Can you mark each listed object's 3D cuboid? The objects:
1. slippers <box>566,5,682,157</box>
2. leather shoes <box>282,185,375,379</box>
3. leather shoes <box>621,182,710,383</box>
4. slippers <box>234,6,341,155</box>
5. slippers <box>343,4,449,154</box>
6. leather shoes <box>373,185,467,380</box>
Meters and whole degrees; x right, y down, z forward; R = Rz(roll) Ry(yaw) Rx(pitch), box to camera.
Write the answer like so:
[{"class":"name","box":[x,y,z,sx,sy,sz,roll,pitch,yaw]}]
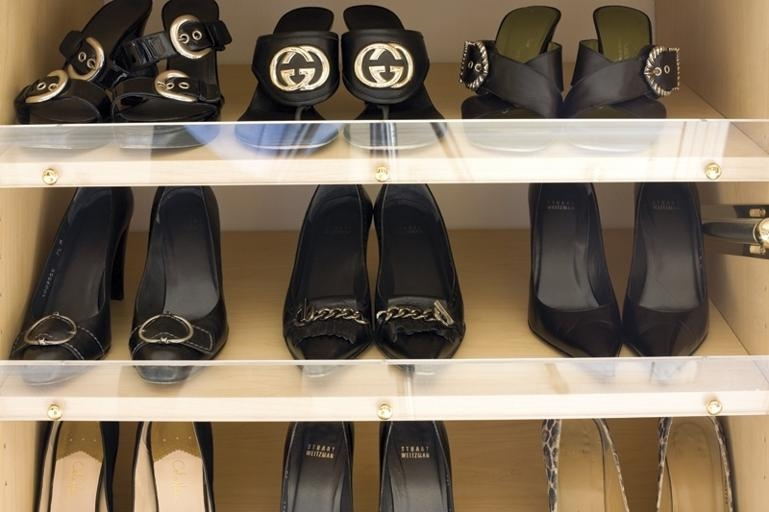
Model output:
[{"class":"slippers","box":[0.411,-0.313,1.310,0.164,0.079,0.384,2,49,13]},{"class":"leather shoes","box":[-0.100,0.033,1.437,0.134,0.110,0.389,1,47,5]},{"class":"leather shoes","box":[0.542,0.036,1.422,0.122,0.108,0.401,-3,64,23]},{"class":"slippers","box":[-0.161,-0.300,1.303,0.132,0.104,0.360,2,46,2]},{"class":"slippers","box":[0.004,-0.315,1.319,0.132,0.100,0.337,-3,47,-2]},{"class":"leather shoes","box":[0.060,0.048,1.436,0.136,0.105,0.386,-3,48,1]}]
